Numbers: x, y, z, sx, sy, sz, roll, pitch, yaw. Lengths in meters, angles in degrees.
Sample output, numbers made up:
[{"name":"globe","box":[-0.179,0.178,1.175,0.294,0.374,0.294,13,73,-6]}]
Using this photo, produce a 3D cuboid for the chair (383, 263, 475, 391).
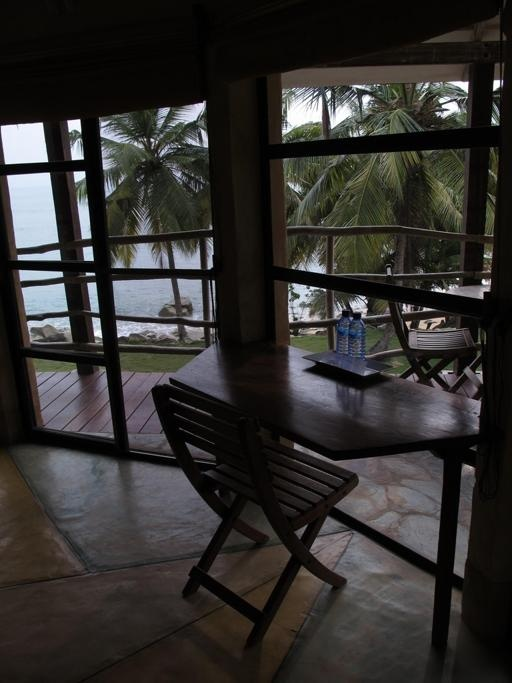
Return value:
[{"name":"chair","box":[1.002,0.055,2.909,0.458,0.644,0.367,1,-9,11]}]

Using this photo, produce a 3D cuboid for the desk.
[{"name":"desk","box":[0.217,0.464,1.606,0.571,0.724,0.983,-9,11,-37]}]

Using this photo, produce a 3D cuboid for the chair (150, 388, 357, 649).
[{"name":"chair","box":[0.013,0.483,1.562,0.535,0.684,0.468,-5,10,-35]}]
